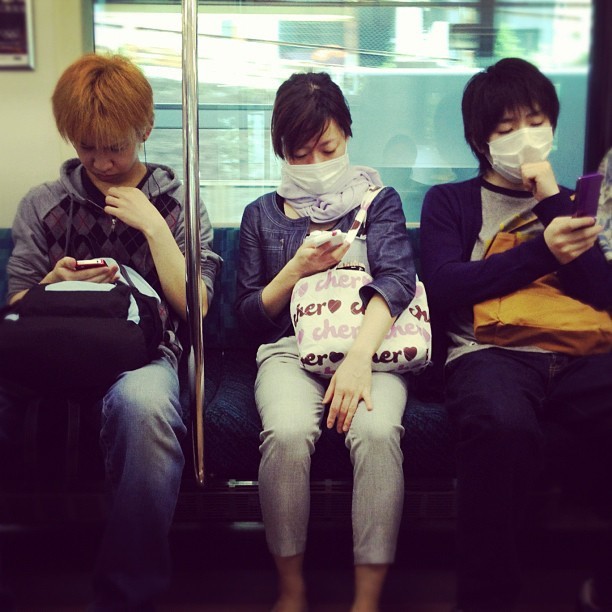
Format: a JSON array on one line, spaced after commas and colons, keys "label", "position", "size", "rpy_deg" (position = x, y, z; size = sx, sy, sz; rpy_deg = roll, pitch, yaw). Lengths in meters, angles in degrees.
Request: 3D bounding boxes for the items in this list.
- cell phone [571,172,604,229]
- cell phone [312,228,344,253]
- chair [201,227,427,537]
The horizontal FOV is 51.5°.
[{"label": "cell phone", "position": [0.686, -0.270, 1.548], "size": [0.055, 0.104, 0.089], "rpy_deg": [5, 12, 22]}, {"label": "cell phone", "position": [0.062, -0.172, 1.605], "size": [0.070, 0.043, 0.095], "rpy_deg": [5, 12, 17]}, {"label": "chair", "position": [0.045, 0.152, 1.847], "size": [0.738, 0.770, 0.588], "rpy_deg": [5, 21, -8]}]
